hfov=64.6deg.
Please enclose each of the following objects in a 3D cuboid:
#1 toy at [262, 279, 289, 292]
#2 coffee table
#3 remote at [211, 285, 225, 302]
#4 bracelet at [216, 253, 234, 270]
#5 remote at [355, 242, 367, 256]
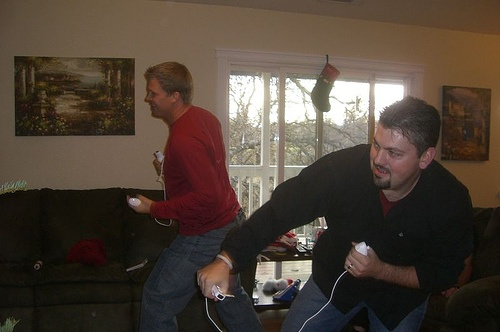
[{"bbox_3d":[0.254,1.169,3.961,0.217,0.091,0.126,-3,-8,-23],"label":"toy"},{"bbox_3d":[0.324,1.163,4.186,0.540,0.512,1.043,0,2,13],"label":"coffee table"},{"bbox_3d":[-0.170,0.715,2.215,0.090,0.052,0.024,41,-6,-25],"label":"remote"},{"bbox_3d":[-0.143,0.546,2.294,0.021,0.081,0.074,-35,50,-13],"label":"bracelet"},{"bbox_3d":[0.675,0.500,2.391,0.067,0.067,0.074,-6,0,43],"label":"remote"}]
